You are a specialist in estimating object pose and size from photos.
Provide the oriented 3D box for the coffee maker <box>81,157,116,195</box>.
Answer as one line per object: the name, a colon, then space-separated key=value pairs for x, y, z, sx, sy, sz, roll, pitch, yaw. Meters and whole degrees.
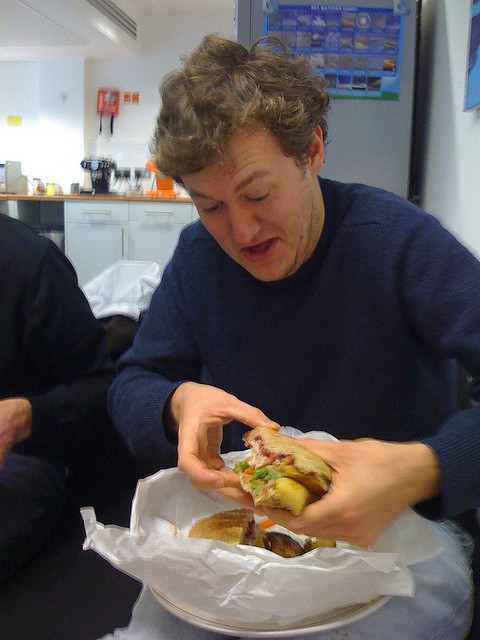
coffee maker: x=-1.189 y=-1.283 z=4.554 sx=0.323 sy=0.378 sz=0.325 roll=-2 pitch=25 yaw=-6

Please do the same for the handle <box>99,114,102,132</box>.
handle: x=-1.451 y=-2.040 z=5.373 sx=0.025 sy=0.160 sz=0.047 roll=-3 pitch=9 yaw=-26

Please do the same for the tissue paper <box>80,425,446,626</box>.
tissue paper: x=0.022 y=0.269 z=0.631 sx=0.371 sy=0.111 sz=0.311 roll=7 pitch=10 yaw=33

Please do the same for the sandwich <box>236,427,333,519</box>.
sandwich: x=0.046 y=0.169 z=0.603 sx=0.088 sy=0.041 sz=0.090 roll=24 pitch=33 yaw=35
